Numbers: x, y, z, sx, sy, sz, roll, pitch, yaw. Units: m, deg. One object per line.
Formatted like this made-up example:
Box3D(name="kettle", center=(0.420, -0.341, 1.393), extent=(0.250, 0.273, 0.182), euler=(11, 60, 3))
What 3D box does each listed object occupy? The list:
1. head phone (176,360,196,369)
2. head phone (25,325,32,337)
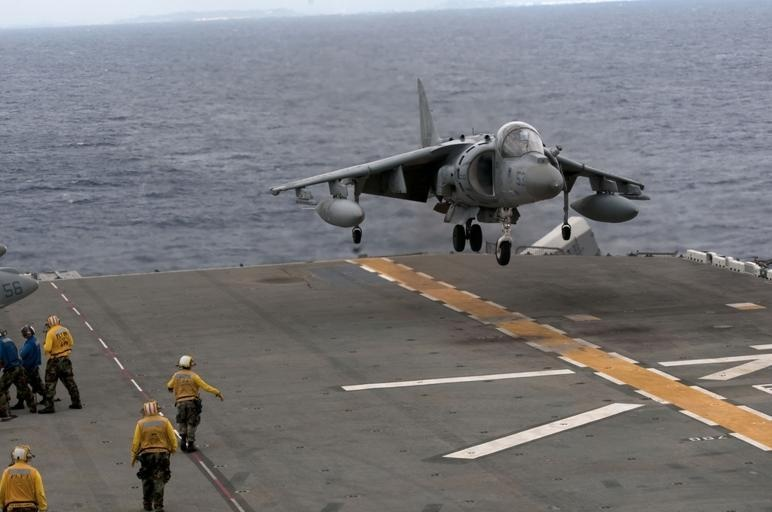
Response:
Box3D(name="head phone", center=(-5.212, 2.770, 22.974), extent=(0.540, 0.166, 0.402), euler=(11, 9, 42))
Box3D(name="head phone", center=(-10.155, 2.112, 25.255), extent=(0.224, 0.252, 0.284), euler=(-11, 19, -14))
